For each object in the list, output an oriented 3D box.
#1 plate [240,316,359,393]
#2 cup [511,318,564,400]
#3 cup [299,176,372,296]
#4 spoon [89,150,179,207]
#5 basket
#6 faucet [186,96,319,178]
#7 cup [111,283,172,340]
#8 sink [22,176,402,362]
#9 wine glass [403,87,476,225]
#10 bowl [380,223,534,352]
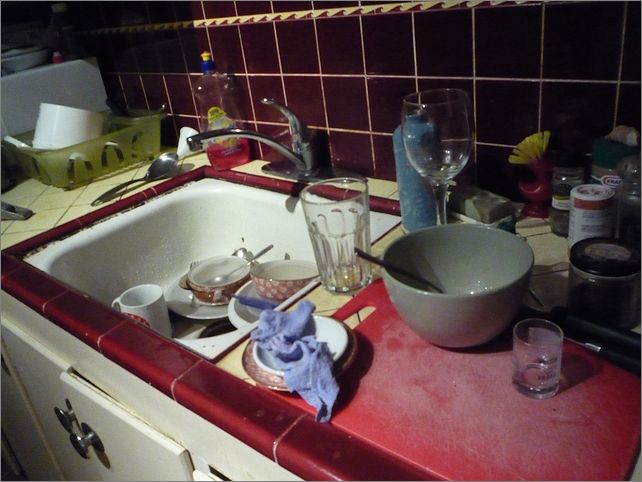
[{"bbox_3d":[-0.031,0.166,0.760,0.171,0.040,0.128,-10,27,-12],"label":"plate"},{"bbox_3d":[0.293,0.159,0.692,0.073,0.087,0.081,3,-2,-3],"label":"cup"},{"bbox_3d":[0.037,-0.013,0.980,0.127,0.187,0.121,-17,17,5],"label":"cup"},{"bbox_3d":[-0.551,-0.190,1.589,0.343,0.056,0.096,-13,-24,40],"label":"spoon"},{"bbox_3d":[-0.685,-0.334,1.557,0.312,0.120,0.369,8,31,44],"label":"basket"},{"bbox_3d":[-0.173,-0.281,1.400,0.347,0.242,0.079,-24,39,-35],"label":"faucet"},{"bbox_3d":[-0.380,0.164,1.110,0.102,0.108,0.127,-23,32,-33],"label":"cup"},{"bbox_3d":[-0.348,0.081,1.295,0.563,0.240,0.479,14,33,41],"label":"sink"},{"bbox_3d":[0.211,-0.145,0.957,0.120,0.258,0.145,0,27,8],"label":"wine glass"},{"bbox_3d":[0.196,0.068,0.739,0.206,0.115,0.209,-7,27,4],"label":"bowl"}]
